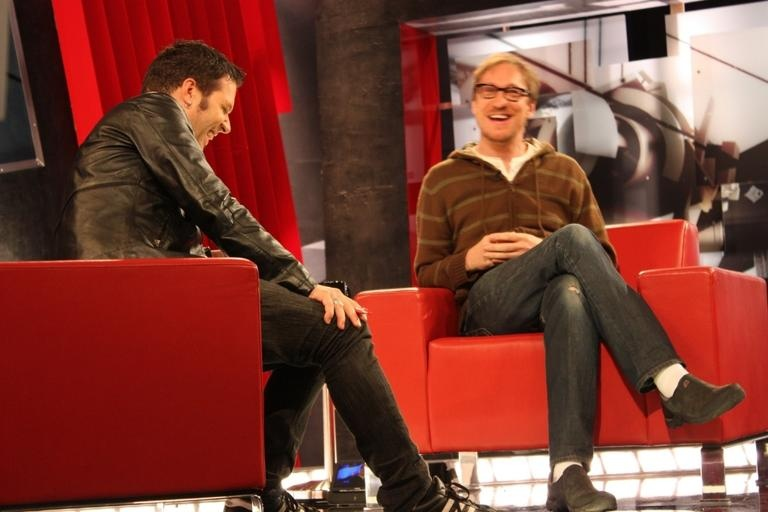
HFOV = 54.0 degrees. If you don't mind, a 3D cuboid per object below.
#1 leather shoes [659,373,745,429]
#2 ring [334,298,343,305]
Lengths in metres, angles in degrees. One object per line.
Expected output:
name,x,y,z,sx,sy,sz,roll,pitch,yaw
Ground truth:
leather shoes,0.990,0.458,2.377,0.146,0.105,0.251,-42,14,-34
ring,-0.136,0.139,2.225,0.020,0.012,0.012,-4,-2,0
